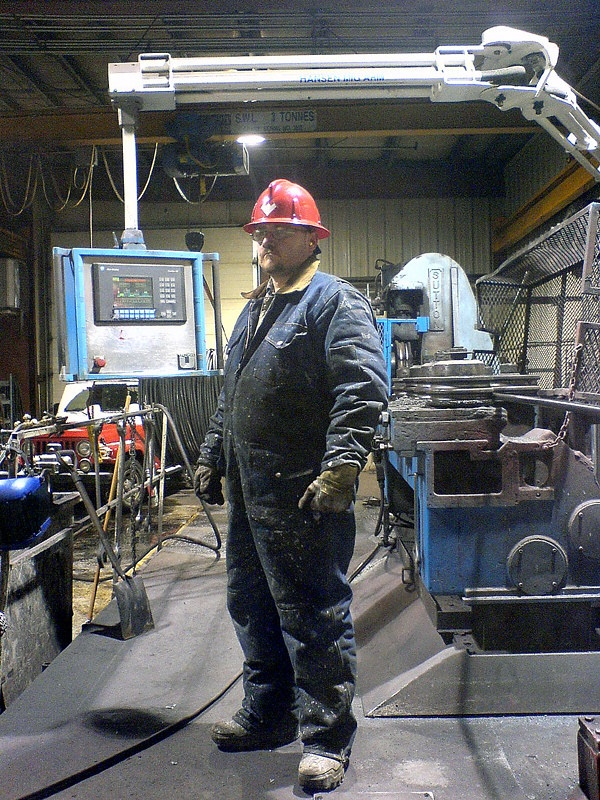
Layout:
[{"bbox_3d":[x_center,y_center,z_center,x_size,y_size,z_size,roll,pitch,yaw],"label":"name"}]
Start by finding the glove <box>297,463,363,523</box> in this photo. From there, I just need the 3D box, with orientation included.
[{"bbox_3d":[0.097,0.287,2.843,0.204,0.163,0.108,-2,6,-2],"label":"glove"}]

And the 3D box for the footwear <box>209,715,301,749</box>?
[{"bbox_3d":[-0.163,1.248,3.196,0.252,0.127,0.144,5,-13,-9],"label":"footwear"}]

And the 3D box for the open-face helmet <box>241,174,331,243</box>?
[{"bbox_3d":[-0.019,-0.673,3.175,0.214,0.157,0.250,-1,-10,25],"label":"open-face helmet"}]

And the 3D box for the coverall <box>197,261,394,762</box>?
[{"bbox_3d":[-0.014,0.397,3.098,0.715,1.716,0.386,2,7,36],"label":"coverall"}]

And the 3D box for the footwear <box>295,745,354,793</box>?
[{"bbox_3d":[0.084,1.271,2.897,0.178,0.102,0.132,-3,6,-4],"label":"footwear"}]
